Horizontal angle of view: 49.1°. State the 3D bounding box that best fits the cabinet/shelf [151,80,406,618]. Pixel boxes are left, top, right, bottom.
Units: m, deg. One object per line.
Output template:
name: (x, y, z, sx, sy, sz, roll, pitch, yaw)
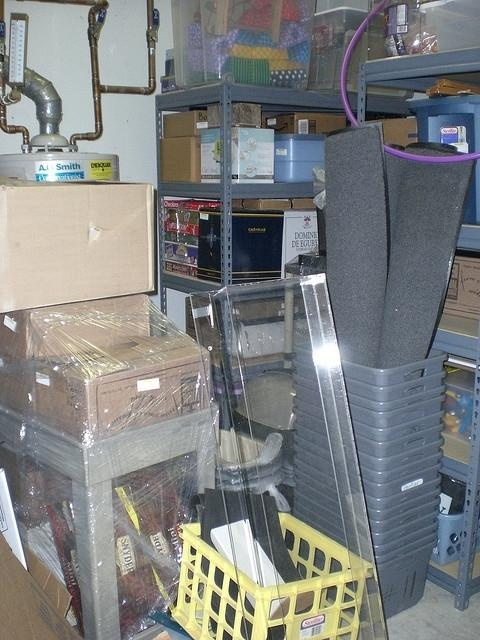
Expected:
cabinet/shelf: (0.008, -0.023, 2.519, 1.888, 1.833, 0.677, -9, 17, -36)
